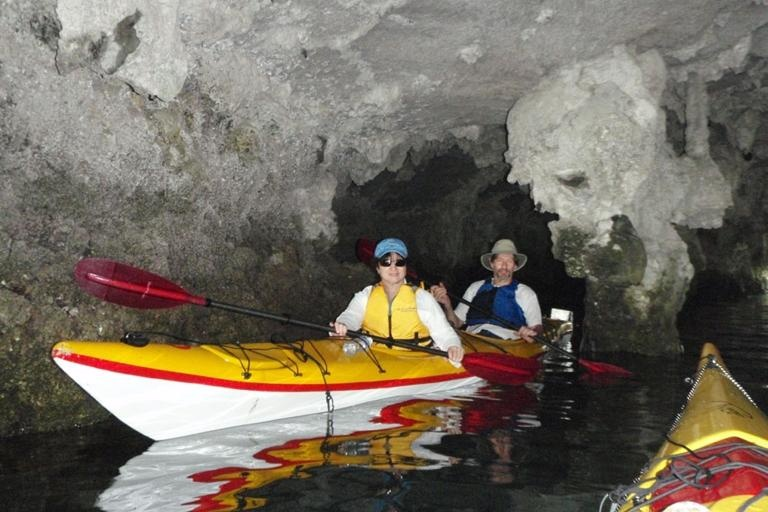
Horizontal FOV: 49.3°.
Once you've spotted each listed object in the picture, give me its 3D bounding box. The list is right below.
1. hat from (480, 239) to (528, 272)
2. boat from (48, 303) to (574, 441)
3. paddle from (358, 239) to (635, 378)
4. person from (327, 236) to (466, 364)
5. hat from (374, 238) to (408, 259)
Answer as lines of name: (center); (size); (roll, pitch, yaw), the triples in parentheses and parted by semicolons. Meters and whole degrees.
hat: (1.347, -0.098, 9.348); (0.475, 0.171, 0.479); (0, -26, 12)
boat: (-0.520, 1.115, 7.627); (4.609, 0.760, 0.995); (8, -7, -26)
paddle: (1.203, 0.585, 9.078); (3.121, 0.556, 0.585); (18, -50, -18)
person: (0.118, 0.484, 7.776); (1.427, 1.167, 0.848); (2, 13, 15)
hat: (0.050, -0.070, 8.163); (0.391, 0.159, 0.518); (0, -7, 1)
